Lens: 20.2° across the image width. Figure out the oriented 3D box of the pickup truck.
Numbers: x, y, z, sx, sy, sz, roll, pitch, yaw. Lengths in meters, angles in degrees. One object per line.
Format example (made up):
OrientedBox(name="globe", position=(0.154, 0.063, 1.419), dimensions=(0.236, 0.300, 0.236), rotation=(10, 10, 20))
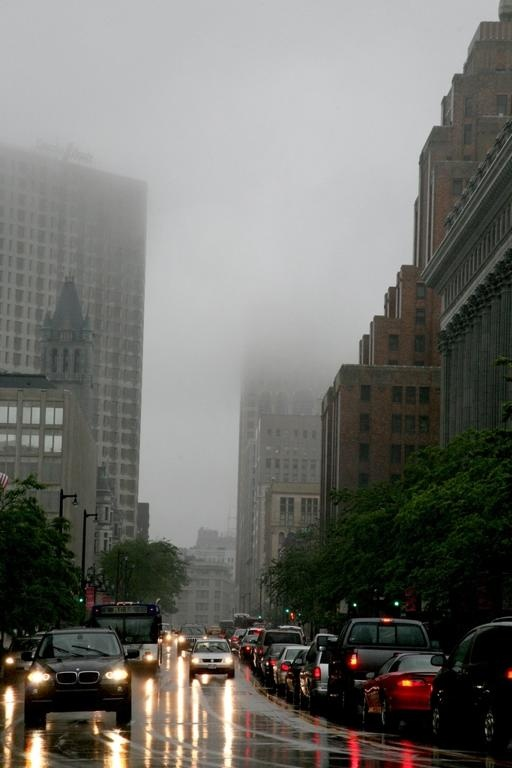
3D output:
OrientedBox(name="pickup truck", position=(2.181, 5.055, 27.133), dimensions=(1.200, 1.201, 2.483), rotation=(1, -6, -4))
